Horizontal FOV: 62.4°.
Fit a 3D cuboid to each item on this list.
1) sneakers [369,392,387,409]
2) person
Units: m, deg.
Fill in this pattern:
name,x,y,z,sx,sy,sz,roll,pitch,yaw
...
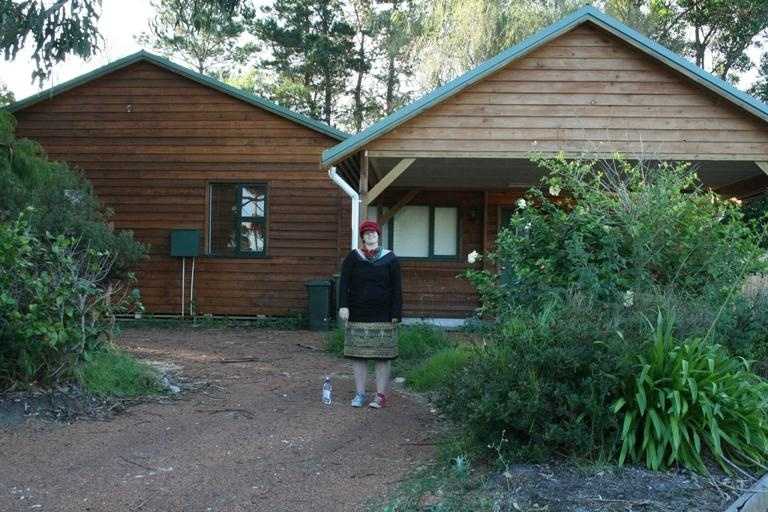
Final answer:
name,x,y,z,sx,sy,sz,roll,pitch,yaw
sneakers,-0.074,1.790,7.820,0.103,0.132,0.289,-2,-14,21
person,-0.168,0.704,7.774,0.746,2.242,0.328,-1,6,-3
